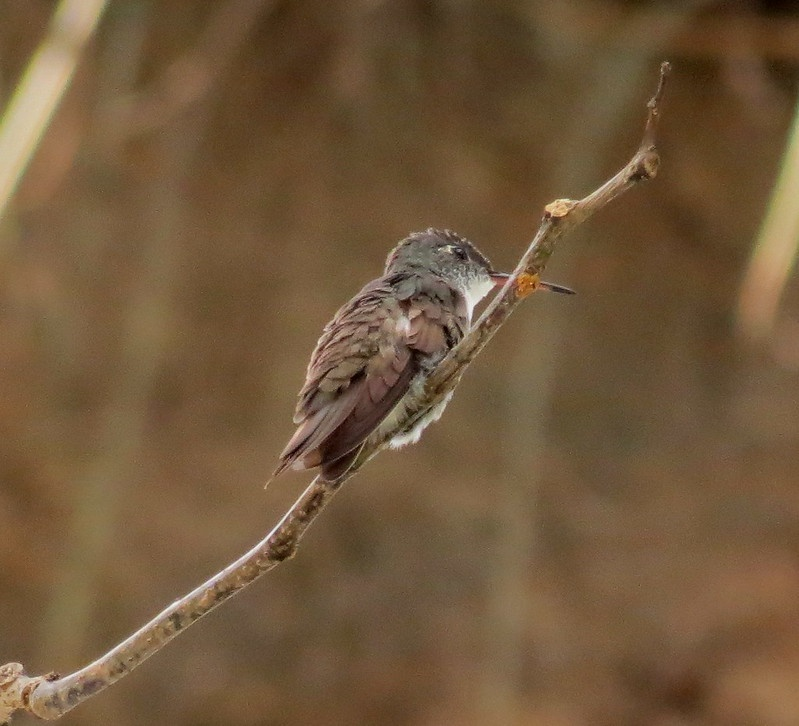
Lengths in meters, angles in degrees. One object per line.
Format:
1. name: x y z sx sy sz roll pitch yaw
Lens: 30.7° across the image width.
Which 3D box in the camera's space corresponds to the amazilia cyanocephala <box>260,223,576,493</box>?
1. amazilia cyanocephala: 0.035 -0.031 3.690 0.725 0.350 0.693 6 63 -21
